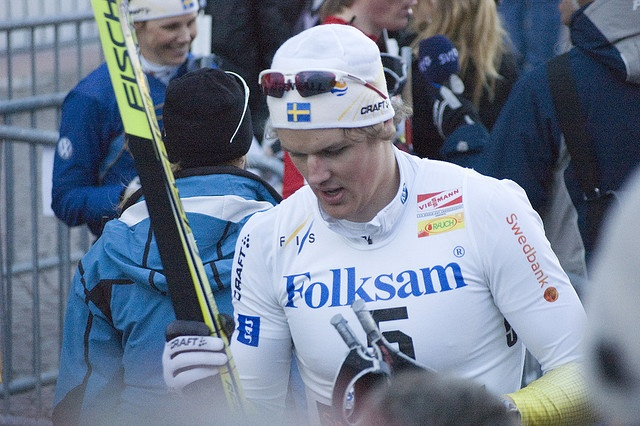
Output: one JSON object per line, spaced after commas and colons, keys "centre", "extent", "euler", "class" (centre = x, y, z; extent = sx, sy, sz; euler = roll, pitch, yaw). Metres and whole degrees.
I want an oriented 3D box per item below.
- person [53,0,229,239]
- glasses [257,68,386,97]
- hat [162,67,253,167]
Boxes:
{"centre": [-1.114, -0.550, 8.162], "extent": [1.003, 1.592, 0.812], "euler": [-28, 51, -27], "class": "person"}
{"centre": [0.007, -0.680, 7.089], "extent": [0.668, 0.210, 0.158], "euler": [-5, 20, 5], "class": "glasses"}
{"centre": [-0.656, -0.538, 7.555], "extent": [0.500, 0.444, 0.544], "euler": [-4, 37, -3], "class": "hat"}
